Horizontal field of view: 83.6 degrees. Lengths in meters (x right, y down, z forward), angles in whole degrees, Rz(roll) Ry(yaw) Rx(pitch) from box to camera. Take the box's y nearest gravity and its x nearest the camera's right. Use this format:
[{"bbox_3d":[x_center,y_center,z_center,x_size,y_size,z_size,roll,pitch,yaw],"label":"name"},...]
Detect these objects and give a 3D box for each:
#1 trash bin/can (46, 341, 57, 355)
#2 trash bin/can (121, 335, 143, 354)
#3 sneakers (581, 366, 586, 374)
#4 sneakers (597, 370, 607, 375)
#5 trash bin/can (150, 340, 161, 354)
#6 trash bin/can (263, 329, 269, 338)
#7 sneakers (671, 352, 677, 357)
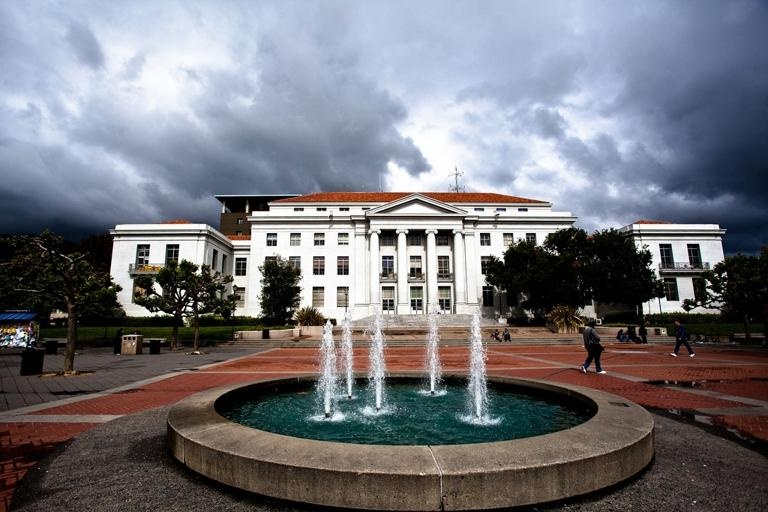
[{"bbox_3d":[-20.291,5.696,26.235,0.618,0.843,0.592,-1,-12,-16],"label":"trash bin/can"},{"bbox_3d":[-15.623,5.518,26.541,1.054,1.132,0.672,2,-6,-28],"label":"trash bin/can"},{"bbox_3d":[8.000,4.623,17.182,0.125,0.342,0.150,-15,0,2],"label":"sneakers"},{"bbox_3d":[8.674,4.682,17.078,0.372,0.145,0.139,-2,1,2],"label":"sneakers"},{"bbox_3d":[-14.467,5.824,27.192,0.524,0.727,1.281,3,-6,-31],"label":"trash bin/can"},{"bbox_3d":[-9.901,6.629,36.017,0.610,0.591,0.588,0,1,-14],"label":"trash bin/can"},{"bbox_3d":[15.809,5.449,23.467,0.198,0.219,0.533,-6,-17,14],"label":"sneakers"}]
